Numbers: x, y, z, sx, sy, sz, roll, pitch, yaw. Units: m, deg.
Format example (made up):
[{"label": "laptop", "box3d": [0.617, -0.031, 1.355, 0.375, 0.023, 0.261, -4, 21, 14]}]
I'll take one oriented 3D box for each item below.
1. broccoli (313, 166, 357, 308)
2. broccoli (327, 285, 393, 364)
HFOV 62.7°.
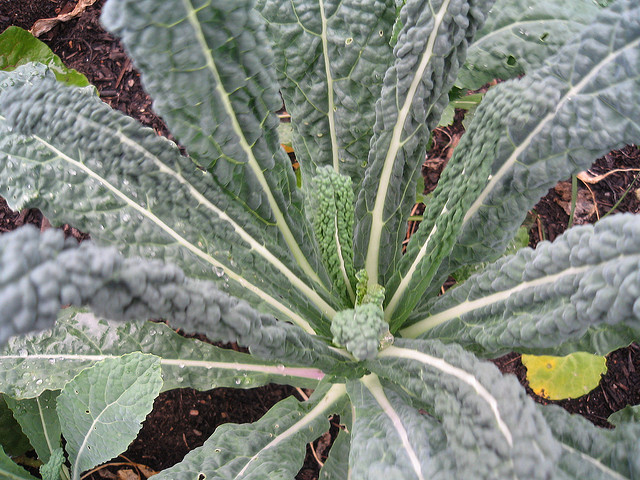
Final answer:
[{"label": "broccoli", "box3d": [0.060, -0.027, 1.832, 0.184, 0.485, 0.215, 6, 25, 17]}, {"label": "broccoli", "box3d": [0.133, 0.288, 1.762, 0.219, 0.390, 0.295, -3, 64, 6]}]
